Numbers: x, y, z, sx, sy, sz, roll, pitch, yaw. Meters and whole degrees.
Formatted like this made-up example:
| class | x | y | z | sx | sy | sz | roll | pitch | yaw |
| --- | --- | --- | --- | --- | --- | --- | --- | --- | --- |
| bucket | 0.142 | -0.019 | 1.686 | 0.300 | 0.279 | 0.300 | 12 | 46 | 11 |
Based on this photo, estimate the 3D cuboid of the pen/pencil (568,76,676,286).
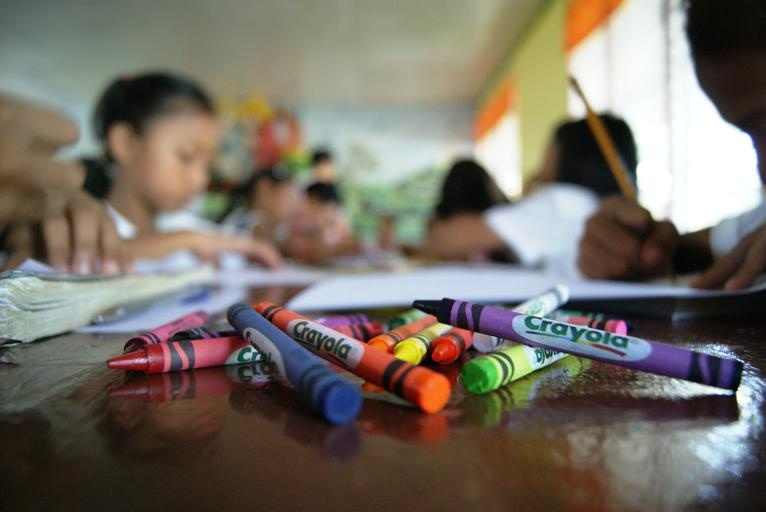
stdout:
| class | x | y | z | sx | sy | sz | roll | pitch | yaw |
| --- | --- | --- | --- | --- | --- | --- | --- | --- | --- |
| pen/pencil | 0.359 | -0.118 | 0.939 | 0.027 | 0.335 | 0.027 | -10 | -14 | -36 |
